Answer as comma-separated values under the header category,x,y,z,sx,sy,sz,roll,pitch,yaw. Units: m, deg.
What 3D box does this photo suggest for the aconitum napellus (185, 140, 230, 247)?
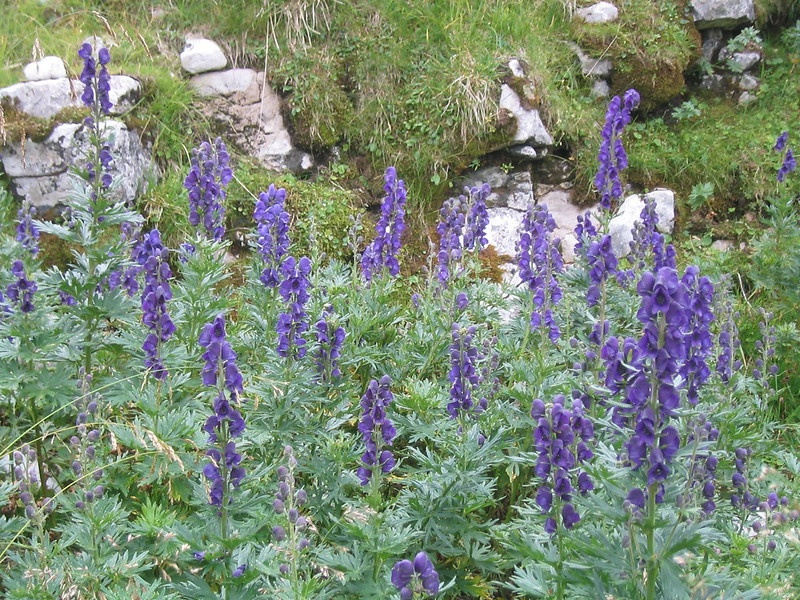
category,x,y,z,sx,sy,sz,roll,pitch,yaw
aconitum napellus,-1.596,-0.907,7.997,0.384,0.885,0.596,3,31,2

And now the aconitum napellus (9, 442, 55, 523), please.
category,x,y,z,sx,sy,sz,roll,pitch,yaw
aconitum napellus,-2.484,1.246,6.483,0.247,0.575,0.250,12,42,0
